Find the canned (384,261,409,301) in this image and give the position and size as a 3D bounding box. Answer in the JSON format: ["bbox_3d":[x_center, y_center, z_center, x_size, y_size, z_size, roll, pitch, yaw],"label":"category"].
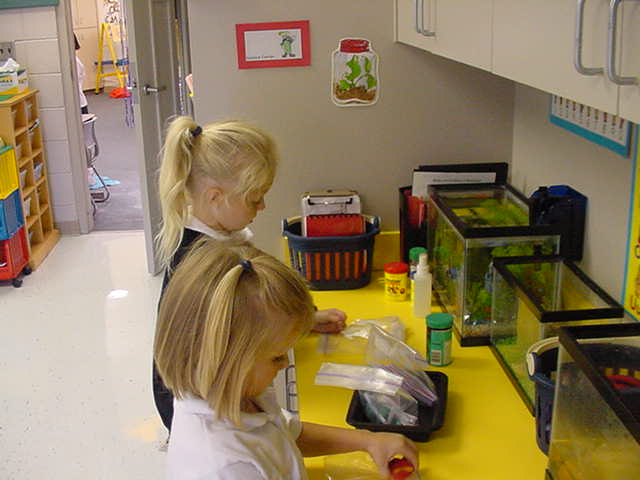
[{"bbox_3d":[0.294,0.155,2.046,0.127,0.140,0.127,-2,28,4],"label":"canned"}]

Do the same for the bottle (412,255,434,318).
[{"bbox_3d":[0.371,0.170,1.875,0.086,0.290,0.086,-2,32,1],"label":"bottle"}]

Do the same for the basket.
[{"bbox_3d":[0.055,0.027,2.170,0.348,0.225,0.300,-1,16,-2],"label":"basket"}]
